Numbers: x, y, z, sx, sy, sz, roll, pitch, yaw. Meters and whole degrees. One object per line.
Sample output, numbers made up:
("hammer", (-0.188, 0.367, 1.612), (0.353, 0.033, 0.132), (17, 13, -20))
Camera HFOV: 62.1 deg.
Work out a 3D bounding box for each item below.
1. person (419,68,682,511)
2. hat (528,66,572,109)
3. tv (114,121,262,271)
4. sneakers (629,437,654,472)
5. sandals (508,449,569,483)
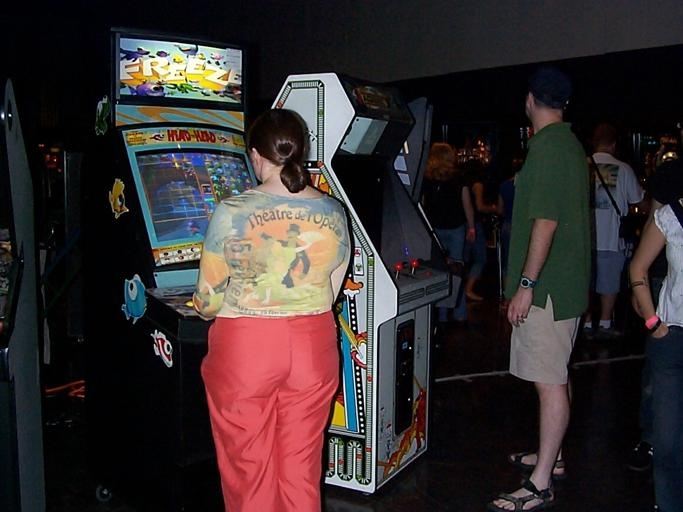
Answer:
("person", (1.146, 0.172, 2.676), (0.750, 2.104, 0.665), (3, 10, 17))
("hat", (0.984, -0.793, 2.674), (0.185, 0.203, 0.127), (3, 10, 18))
("tv", (-0.689, -0.241, 2.400), (0.647, 0.717, 0.215), (2, -13, -36))
("sneakers", (1.732, 1.101, 3.234), (0.138, 0.174, 0.424), (-3, -7, 29))
("sandals", (1.073, 1.097, 3.118), (0.310, 0.216, 0.136), (6, 6, 33))
